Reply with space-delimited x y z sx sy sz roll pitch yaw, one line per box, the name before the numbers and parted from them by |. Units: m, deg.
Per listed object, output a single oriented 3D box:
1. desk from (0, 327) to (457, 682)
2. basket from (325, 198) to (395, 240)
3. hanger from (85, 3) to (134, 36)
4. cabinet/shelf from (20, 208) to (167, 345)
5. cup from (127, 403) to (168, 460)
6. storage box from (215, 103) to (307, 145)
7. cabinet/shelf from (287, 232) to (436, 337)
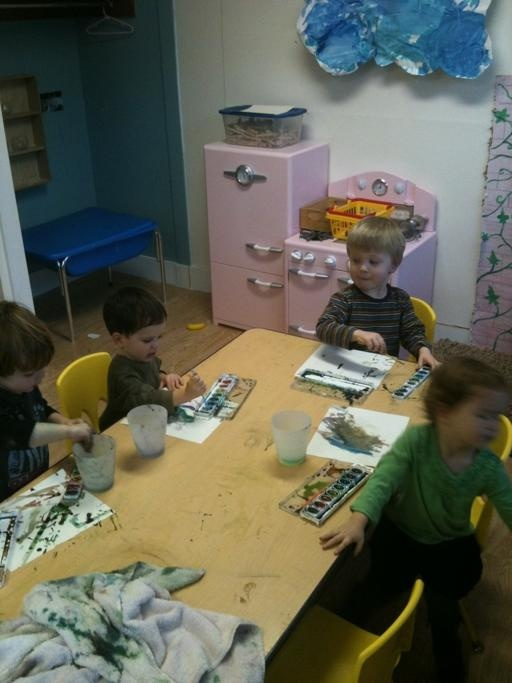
desk | -0.044 0.372 1.100 0.367 0.184 0.787 18 38 25
basket | 0.543 -0.695 2.963 0.259 0.135 0.357 20 38 30
hanger | -1.022 -2.190 3.737 0.434 0.191 0.111 15 27 41
cabinet/shelf | -1.080 -0.501 3.862 0.970 0.710 0.904 -25 34 -36
cup | -0.248 0.209 1.246 0.082 0.084 0.082 -1 33 1
storage box | 0.053 -1.252 3.153 0.455 0.255 0.365 8 23 29
cabinet/shelf | 0.463 -0.270 2.340 0.416 0.677 0.342 13 22 31
